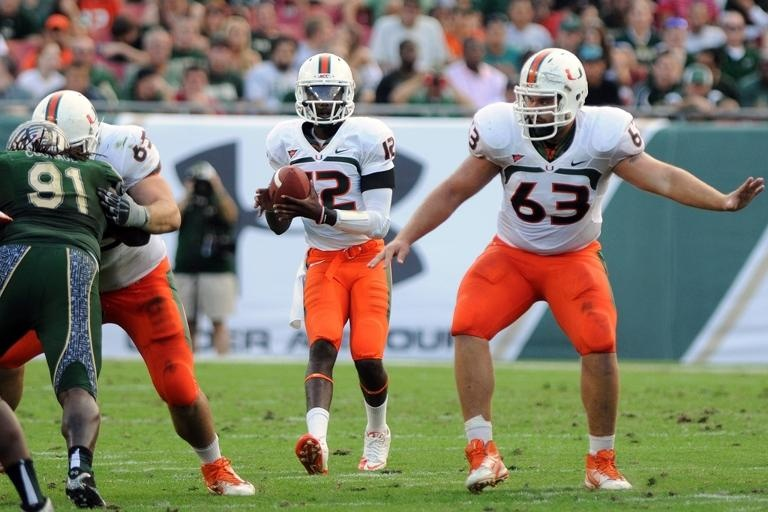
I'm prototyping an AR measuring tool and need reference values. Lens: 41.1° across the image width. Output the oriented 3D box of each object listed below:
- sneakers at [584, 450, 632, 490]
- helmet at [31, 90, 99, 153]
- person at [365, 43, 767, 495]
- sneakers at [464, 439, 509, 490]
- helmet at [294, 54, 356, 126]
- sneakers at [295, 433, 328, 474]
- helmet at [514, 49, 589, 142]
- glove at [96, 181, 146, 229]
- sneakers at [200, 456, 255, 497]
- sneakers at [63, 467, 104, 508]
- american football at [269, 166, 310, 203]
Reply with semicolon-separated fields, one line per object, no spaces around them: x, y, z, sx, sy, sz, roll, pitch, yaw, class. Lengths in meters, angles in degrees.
1.162;1.133;5.357;0.141;0.220;0.385;4;-9;-14;sneakers
-1.755;-0.754;5.617;0.320;0.378;0.403;11;8;1;helmet
0.864;0.039;5.485;1.565;2.323;0.575;-1;5;3;person
0.534;1.092;5.343;0.240;0.263;0.219;-2;5;-9;sneakers
-0.354;-1.049;6.296;0.355;0.401;0.481;1;10;1;helmet
-0.386;1.091;5.571;0.109;0.295;0.133;-22;34;7;sneakers
0.918;-0.911;5.630;0.477;0.449;0.346;-22;24;-41;helmet
-1.322;-0.275;5.262;0.295;0.211;0.077;-13;-2;-33;glove
-0.853;1.185;5.478;0.156;0.171;0.425;-5;3;-37;sneakers
-1.449;1.131;4.966;0.109;0.255;0.124;-24;34;12;sneakers
-0.528;-0.419;5.765;0.176;0.185;0.231;-6;-17;-12;american football
